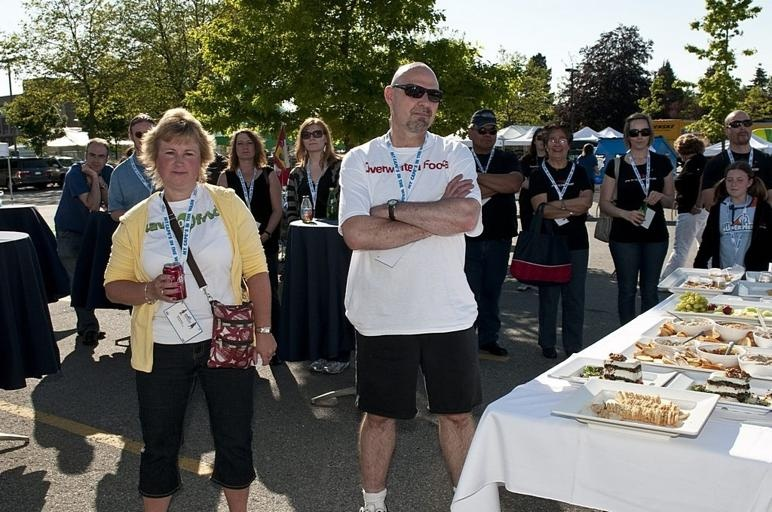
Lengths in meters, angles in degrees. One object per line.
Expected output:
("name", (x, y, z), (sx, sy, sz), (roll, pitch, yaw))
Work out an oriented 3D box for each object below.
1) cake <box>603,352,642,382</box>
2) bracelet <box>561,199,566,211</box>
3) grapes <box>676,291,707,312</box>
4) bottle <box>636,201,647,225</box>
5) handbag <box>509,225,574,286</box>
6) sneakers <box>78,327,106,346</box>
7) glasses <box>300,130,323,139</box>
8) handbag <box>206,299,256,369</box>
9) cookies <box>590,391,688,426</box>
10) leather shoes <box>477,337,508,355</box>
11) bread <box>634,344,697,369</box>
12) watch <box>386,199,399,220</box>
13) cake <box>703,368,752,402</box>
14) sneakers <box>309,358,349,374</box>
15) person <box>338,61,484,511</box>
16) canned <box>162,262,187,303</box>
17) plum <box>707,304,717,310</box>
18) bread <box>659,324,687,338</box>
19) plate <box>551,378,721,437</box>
("cake", (1.241, 0.597, 3.099), (0.129, 0.109, 0.170), (3, -4, 15))
("bracelet", (1.870, -0.536, 6.271), (0.058, 0.082, 0.020), (0, -3, 2))
("grapes", (2.185, 0.337, 4.267), (0.154, 0.129, 0.225), (-1, 4, 0))
("bottle", (2.660, -0.442, 6.134), (0.070, 0.232, 0.123), (4, 11, 17))
("handbag", (1.646, -0.007, 6.187), (0.612, 0.706, 0.192), (3, 13, 10))
("sneakers", (-3.595, 0.991, 7.089), (0.155, 0.179, 0.457), (-1, -6, -23))
("glasses", (-0.832, -1.355, 6.557), (0.265, 0.124, 0.138), (0, 10, -4))
("handbag", (-0.899, 0.463, 3.413), (0.303, 0.382, 0.190), (5, 4, -17))
("cookies", (1.166, 0.707, 2.723), (0.282, 0.074, 0.166), (1, 3, 21))
("leather shoes", (1.187, 1.010, 6.588), (0.396, 0.170, 0.136), (1, 2, 30))
("bread", (1.593, 0.564, 3.375), (0.193, 0.040, 0.156), (17, 20, 29))
("watch", (0.027, -0.256, 3.395), (0.072, 0.109, 0.112), (3, 16, 13))
("cake", (1.752, 0.642, 2.984), (0.227, 0.139, 0.224), (-1, 4, 32))
("sneakers", (-0.635, 1.129, 6.221), (0.292, 0.124, 0.193), (-3, -3, 32))
("person", (0.139, 0.294, 3.597), (0.855, 2.862, 0.558), (-1, 11, -5))
("canned", (-1.185, 0.144, 3.276), (0.110, 0.214, 0.117), (-4, 12, -21))
("plum", (2.332, 0.358, 4.237), (0.056, 0.025, 0.056), (-2, 26, 11))
("bread", (1.794, 0.474, 3.748), (0.082, 0.030, 0.082), (4, 18, -30))
("plate", (1.171, 0.714, 2.723), (0.411, 0.057, 0.344), (0, 10, 31))
